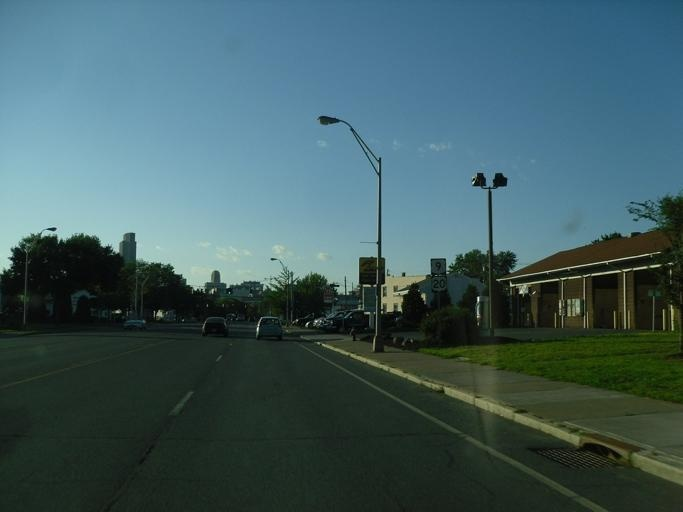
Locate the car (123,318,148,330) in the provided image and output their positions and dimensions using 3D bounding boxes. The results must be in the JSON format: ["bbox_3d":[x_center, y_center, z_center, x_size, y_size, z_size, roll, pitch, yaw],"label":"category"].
[{"bbox_3d":[-17.005,5.820,66.760,1.111,0.812,2.467,2,-2,-9],"label":"car"}]

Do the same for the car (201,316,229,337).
[{"bbox_3d":[-7.659,4.383,49.343,1.317,1.162,1.757,-1,-1,0],"label":"car"}]
